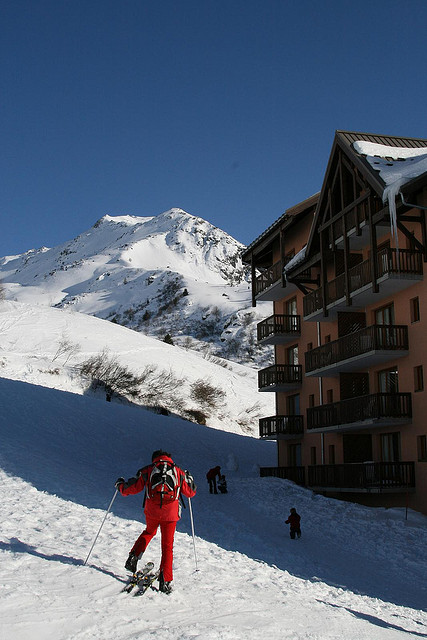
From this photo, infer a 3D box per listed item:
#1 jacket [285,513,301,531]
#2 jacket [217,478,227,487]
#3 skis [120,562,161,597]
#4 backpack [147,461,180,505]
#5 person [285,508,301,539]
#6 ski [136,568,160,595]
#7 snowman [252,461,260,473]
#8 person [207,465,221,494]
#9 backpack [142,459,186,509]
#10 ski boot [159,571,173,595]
[{"bbox_3d":[2.287,5.887,18.585,0.609,0.466,0.309,19,-13,-40],"label":"jacket"},{"bbox_3d":[0.336,6.325,24.883,0.286,0.439,0.231,10,-21,-16],"label":"jacket"},{"bbox_3d":[-1.008,3.622,8.931,0.192,0.149,0.825,28,-6,8],"label":"skis"},{"bbox_3d":[-0.710,2.338,9.210,0.483,0.678,0.360,0,-19,9],"label":"backpack"},{"bbox_3d":[2.357,5.934,18.635,0.474,0.847,1.058,9,-10,10],"label":"person"},{"bbox_3d":[-0.959,3.659,8.851,0.105,0.115,0.498,-3,11,18],"label":"ski"},{"bbox_3d":[2.331,8.202,35.538,0.365,0.549,1.189,10,-10,6],"label":"snowman"},{"bbox_3d":[-0.028,6.154,24.705,0.526,1.000,0.978,10,-10,3],"label":"person"},{"bbox_3d":[-0.737,2.370,9.240,0.613,0.725,0.406,6,-14,-12],"label":"backpack"},{"bbox_3d":[-0.631,3.695,8.892,0.130,0.297,0.296,-5,-12,39],"label":"ski boot"}]
